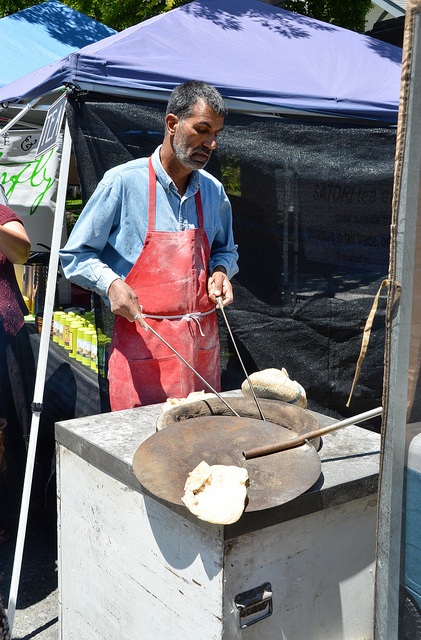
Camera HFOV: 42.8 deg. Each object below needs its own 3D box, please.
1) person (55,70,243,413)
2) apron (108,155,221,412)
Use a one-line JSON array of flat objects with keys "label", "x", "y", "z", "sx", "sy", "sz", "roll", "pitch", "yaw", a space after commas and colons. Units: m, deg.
[{"label": "person", "x": -0.130, "y": -0.262, "z": 2.130, "sx": 0.754, "sy": 1.266, "sz": 0.553, "roll": -4, "pitch": 6, "yaw": -44}, {"label": "apron", "x": -0.169, "y": -0.132, "z": 2.150, "sx": 0.471, "sy": 1.013, "sz": 0.298, "roll": -1, "pitch": 5, "yaw": -10}]
